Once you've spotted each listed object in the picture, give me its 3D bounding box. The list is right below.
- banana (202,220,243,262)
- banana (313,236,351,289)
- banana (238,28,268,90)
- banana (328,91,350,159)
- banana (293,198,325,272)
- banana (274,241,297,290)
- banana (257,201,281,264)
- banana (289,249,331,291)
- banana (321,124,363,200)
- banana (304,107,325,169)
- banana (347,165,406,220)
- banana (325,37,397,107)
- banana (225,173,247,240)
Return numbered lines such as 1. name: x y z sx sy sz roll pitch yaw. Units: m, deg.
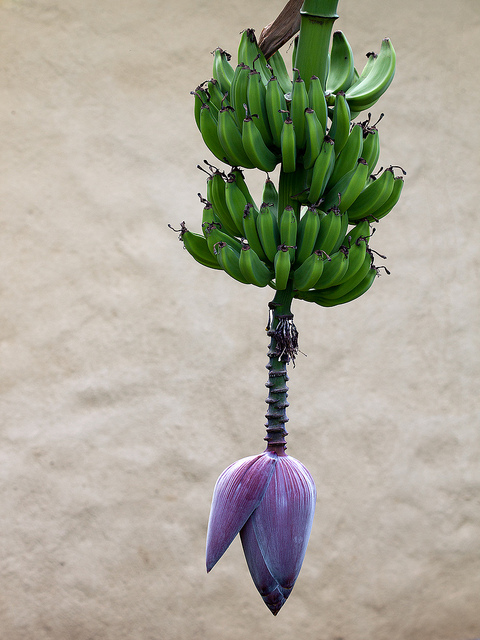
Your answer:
1. banana: -0.084 -0.342 5.275 0.114 0.180 0.312 -2 1 -7
2. banana: 0.394 -0.231 5.079 0.073 0.254 0.109 4 50 -29
3. banana: 0.041 -1.161 5.250 0.084 0.129 0.321 22 -2 10
4. banana: 0.439 -0.855 5.156 0.092 0.128 0.355 24 -9 15
5. banana: 0.288 -0.398 5.064 0.084 0.410 0.110 32 56 22
6. banana: 0.183 -0.223 5.086 0.082 0.251 0.066 -14 48 -13
7. banana: 0.121 -0.384 5.117 0.088 0.317 0.087 -19 45 -15
8. banana: 0.297 -0.221 5.077 0.075 0.070 0.209 -41 -14 -17
9. banana: 0.462 -0.701 5.154 0.075 0.116 0.318 12 -30 -9
10. banana: 0.312 -0.762 5.026 0.061 0.256 0.086 0 15 6
11. banana: 0.639 -0.548 5.190 0.083 0.270 0.090 22 -7 33
12. banana: 0.552 -1.054 5.205 0.101 0.237 0.351 20 58 46
13. banana: -0.029 -0.472 5.163 0.073 0.293 0.095 -2 -9 35
